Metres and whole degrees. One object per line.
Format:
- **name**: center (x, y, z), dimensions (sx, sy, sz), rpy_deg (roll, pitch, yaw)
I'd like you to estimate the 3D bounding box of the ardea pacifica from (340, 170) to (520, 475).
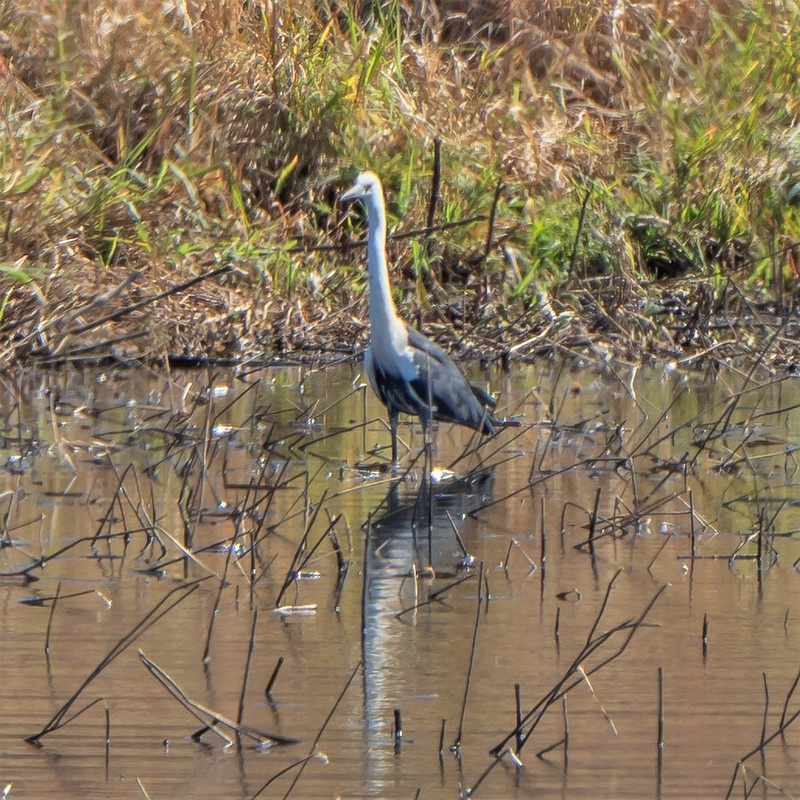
- **ardea pacifica**: center (0.072, -0.478, 6.885), dimensions (0.650, 1.393, 0.421), rpy_deg (-2, 0, -3)
